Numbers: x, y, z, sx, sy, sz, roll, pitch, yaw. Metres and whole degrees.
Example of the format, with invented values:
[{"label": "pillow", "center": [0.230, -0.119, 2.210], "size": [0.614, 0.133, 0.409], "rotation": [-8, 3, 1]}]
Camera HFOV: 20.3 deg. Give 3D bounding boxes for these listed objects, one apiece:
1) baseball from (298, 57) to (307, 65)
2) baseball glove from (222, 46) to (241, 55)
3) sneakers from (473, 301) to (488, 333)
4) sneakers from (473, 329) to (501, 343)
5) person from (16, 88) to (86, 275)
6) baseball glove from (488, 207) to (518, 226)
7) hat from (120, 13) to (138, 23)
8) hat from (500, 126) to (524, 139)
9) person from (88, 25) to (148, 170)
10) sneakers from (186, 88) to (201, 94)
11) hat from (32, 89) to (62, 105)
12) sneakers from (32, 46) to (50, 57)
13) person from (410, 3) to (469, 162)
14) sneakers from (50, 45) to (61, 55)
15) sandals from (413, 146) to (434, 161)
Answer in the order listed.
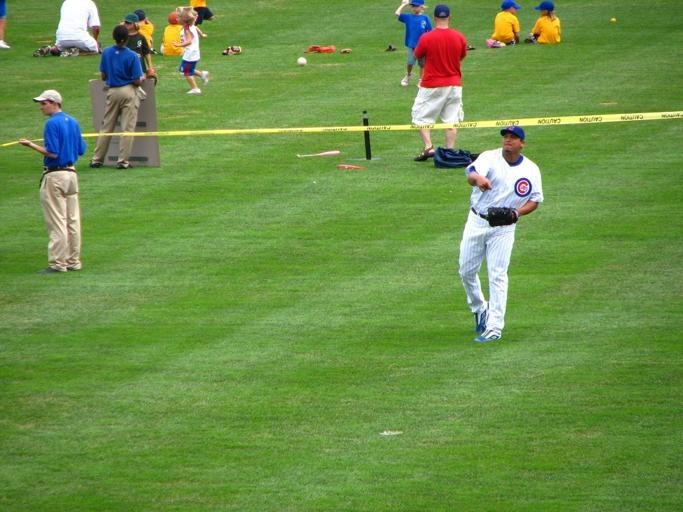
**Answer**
[{"label": "baseball", "center": [-0.873, -4.415, 43.263], "size": [0.251, 0.152, 0.242], "rotation": [5, 4, 22]}, {"label": "baseball glove", "center": [-2.547, -4.842, 44.888], "size": [0.279, 0.125, 0.341], "rotation": [-9, 11, -38]}, {"label": "sneakers", "center": [2.123, 0.929, 29.068], "size": [0.241, 0.423, 0.164], "rotation": [-2, 17, 1]}, {"label": "sneakers", "center": [2.228, 1.197, 28.878], "size": [0.469, 0.142, 0.149], "rotation": [0, 11, -5]}, {"label": "person", "center": [-4.498, -1.211, 30.829], "size": [0.578, 2.896, 0.823], "rotation": [0, 11, 20]}, {"label": "baseball glove", "center": [2.421, -0.612, 28.621], "size": [0.421, 0.137, 0.251], "rotation": [-1, 25, -5]}, {"label": "hat", "center": [-3.930, -4.516, 36.394], "size": [0.244, 0.167, 0.305], "rotation": [-5, 9, -12]}, {"label": "hat", "center": [2.555, -1.840, 28.473], "size": [0.325, 0.197, 0.184], "rotation": [-3, 10, -5]}, {"label": "person", "center": [-4.055, -2.894, 34.899], "size": [1.011, 2.629, 0.667], "rotation": [1, 12, 25]}, {"label": "sneakers", "center": [-3.008, -3.477, 40.153], "size": [0.357, 0.126, 0.102], "rotation": [1, 51, 12]}, {"label": "hat", "center": [-4.617, -2.571, 30.796], "size": [0.679, 0.265, 0.380], "rotation": [4, 5, -12]}, {"label": "sneakers", "center": [-6.713, -4.692, 43.740], "size": [0.269, 0.114, 0.335], "rotation": [-4, 15, 15]}, {"label": "person", "center": [1.804, -3.158, 35.023], "size": [1.038, 2.873, 1.407], "rotation": [-4, 10, 2]}, {"label": "sneakers", "center": [-6.433, -4.727, 43.812], "size": [0.255, 0.095, 0.284], "rotation": [4, 10, -11]}, {"label": "sandals", "center": [1.537, -1.888, 35.637], "size": [0.464, 0.167, 0.173], "rotation": [-4, 9, 36]}]
